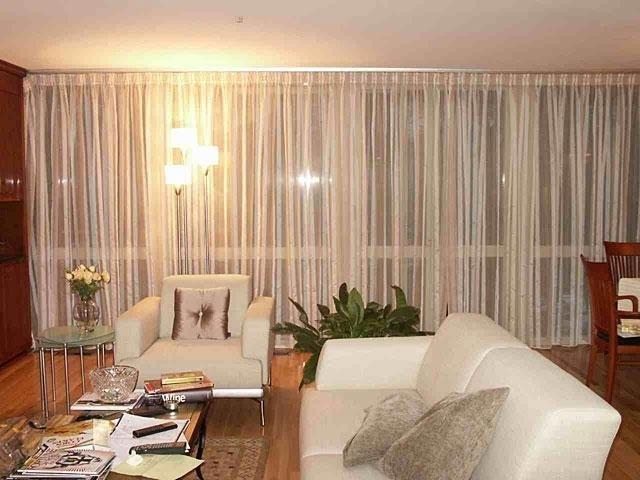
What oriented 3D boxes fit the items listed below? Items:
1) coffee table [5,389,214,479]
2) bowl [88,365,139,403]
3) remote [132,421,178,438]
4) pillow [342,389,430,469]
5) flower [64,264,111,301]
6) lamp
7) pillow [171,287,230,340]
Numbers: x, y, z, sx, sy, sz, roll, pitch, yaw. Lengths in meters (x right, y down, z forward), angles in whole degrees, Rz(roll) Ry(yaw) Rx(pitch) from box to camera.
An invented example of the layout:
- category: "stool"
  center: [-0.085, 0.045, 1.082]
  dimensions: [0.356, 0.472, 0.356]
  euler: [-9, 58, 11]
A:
- category: "coffee table"
  center: [-0.954, 1.097, 2.969]
  dimensions: [0.526, 0.171, 0.745]
  euler: [1, -1, -4]
- category: "bowl"
  center: [-1.246, 0.933, 3.176]
  dimensions: [0.303, 0.189, 0.310]
  euler: [-3, -24, -1]
- category: "remote"
  center: [-0.891, 1.031, 2.745]
  dimensions: [0.160, 0.023, 0.086]
  euler: [-5, 2, -30]
- category: "pillow"
  center: [0.328, 0.935, 2.573]
  dimensions: [0.252, 0.134, 0.394]
  euler: [9, 36, 31]
- category: "flower"
  center: [-2.202, 0.397, 4.823]
  dimensions: [0.360, 0.326, 0.361]
  euler: [2, -12, -13]
- category: "lamp"
  center: [-1.363, -0.884, 5.463]
  dimensions: [0.588, 0.735, 0.566]
  euler: [-4, 5, -14]
- category: "pillow"
  center: [-1.037, 0.655, 4.442]
  dimensions: [0.461, 0.444, 0.172]
  euler: [1, -13, -6]
